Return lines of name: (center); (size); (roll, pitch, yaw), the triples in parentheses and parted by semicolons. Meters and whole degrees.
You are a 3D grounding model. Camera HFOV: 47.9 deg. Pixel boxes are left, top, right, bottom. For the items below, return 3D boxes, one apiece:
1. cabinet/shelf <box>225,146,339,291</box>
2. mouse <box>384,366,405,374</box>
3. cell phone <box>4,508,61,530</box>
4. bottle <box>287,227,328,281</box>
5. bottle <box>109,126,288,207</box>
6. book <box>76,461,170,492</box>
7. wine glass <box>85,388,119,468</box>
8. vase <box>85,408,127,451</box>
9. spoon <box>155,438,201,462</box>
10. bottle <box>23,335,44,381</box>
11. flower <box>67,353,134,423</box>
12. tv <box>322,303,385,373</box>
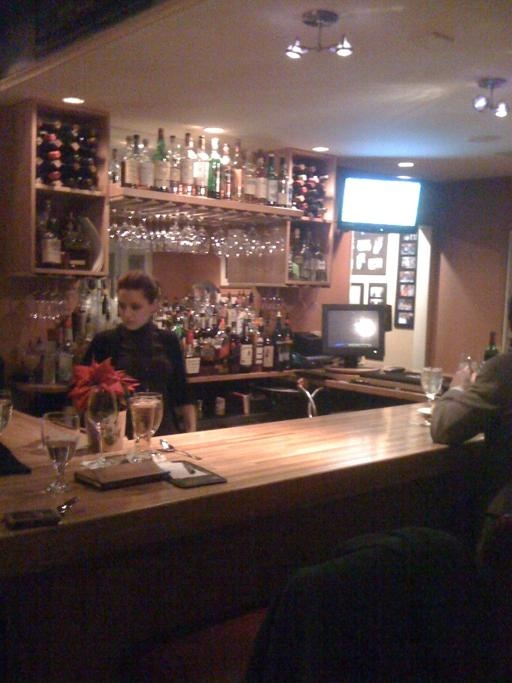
cabinet/shelf: (0.062, -0.912, 4.137); (0.719, 1.195, 0.698); (-10, 8, -12)
mouse: (0.958, 0.198, 4.019); (0.145, 0.048, 0.220); (3, 1, 12)
cell phone: (-0.388, 0.304, 1.001); (0.092, 0.025, 0.094); (3, 1, -24)
bottle: (0.389, -0.697, 4.508); (0.150, 0.437, 0.419); (2, 8, 33)
bottle: (-0.330, -1.140, 3.781); (0.454, 0.462, 1.249); (3, 1, 41)
book: (-0.299, 0.294, 1.281); (0.176, 0.049, 0.134); (2, 1, -31)
wine glass: (-0.361, 0.178, 1.417); (0.099, 0.209, 0.093); (1, 28, -8)
vase: (-0.414, 0.232, 1.584); (0.111, 0.122, 0.119); (0, 5, -1)
spoon: (-0.219, 0.280, 1.556); (0.048, 0.033, 0.223); (5, 2, -29)
bottle: (-1.293, 0.099, 3.356); (0.106, 0.206, 0.266); (3, 1, -22)
flower: (-0.381, 0.117, 1.423); (0.152, 0.144, 0.078); (-24, -10, 2)
tv: (0.724, -0.048, 4.307); (0.472, 0.456, 0.204); (3, 1, 8)
